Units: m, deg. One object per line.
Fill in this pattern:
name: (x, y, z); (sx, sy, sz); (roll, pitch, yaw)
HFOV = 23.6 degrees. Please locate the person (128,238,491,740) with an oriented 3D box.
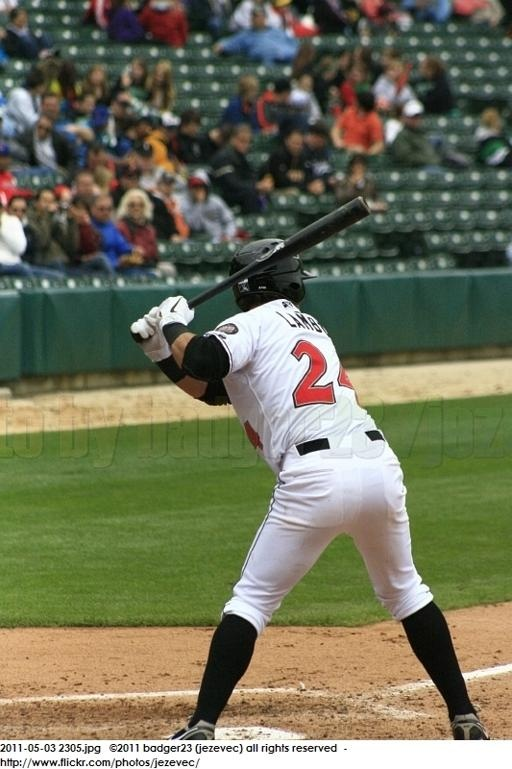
person: (0.170, 0.388, 3.652); (0.883, 1.236, 0.669); (-1, 15, -6)

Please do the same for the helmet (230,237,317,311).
helmet: (0.016, -0.364, 3.940); (0.273, 0.207, 0.195); (-19, 10, -7)

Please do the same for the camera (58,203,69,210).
camera: (-1.457, -1.376, 9.333); (0.078, 0.074, 0.025); (-7, 17, -27)

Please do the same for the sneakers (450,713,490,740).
sneakers: (0.619, 1.010, 3.616); (0.111, 0.082, 0.198); (0, -15, 13)
